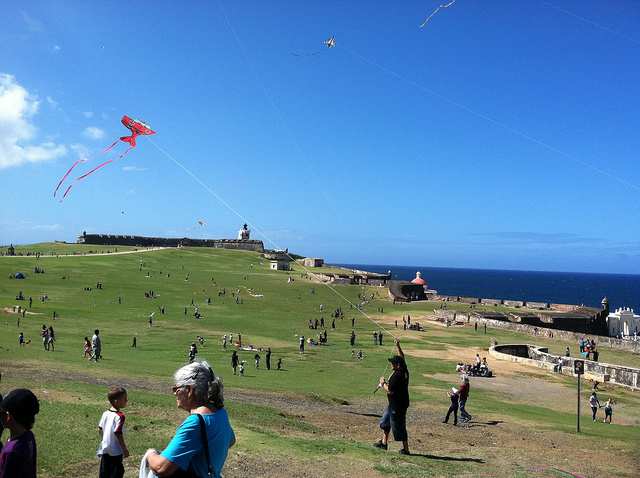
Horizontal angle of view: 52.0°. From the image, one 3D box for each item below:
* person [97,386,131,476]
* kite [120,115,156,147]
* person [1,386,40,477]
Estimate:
[{"bbox_3d":[-6.950,6.485,22.074,0.958,3.116,0.457,4,-1,-7],"label":"person"},{"bbox_3d":[-9.144,-5.384,32.200,0.361,1.540,1.610,40,-9,-20],"label":"kite"},{"bbox_3d":[-9.229,5.943,20.152,1.039,2.971,0.502,4,-1,-23],"label":"person"}]
